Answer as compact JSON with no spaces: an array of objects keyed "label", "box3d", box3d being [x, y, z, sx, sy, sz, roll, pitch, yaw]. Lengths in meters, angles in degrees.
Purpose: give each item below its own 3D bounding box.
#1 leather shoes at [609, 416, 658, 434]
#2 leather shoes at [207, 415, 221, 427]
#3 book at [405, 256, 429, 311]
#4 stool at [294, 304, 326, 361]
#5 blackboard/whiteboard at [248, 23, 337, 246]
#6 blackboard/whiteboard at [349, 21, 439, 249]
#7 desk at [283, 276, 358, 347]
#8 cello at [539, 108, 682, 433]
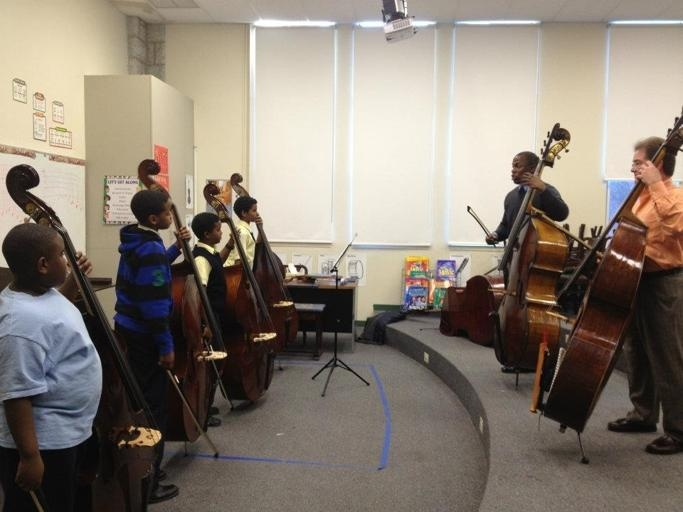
[{"label":"leather shoes","box3d":[2.013,1.177,4.010,0.307,0.140,0.133,2,1,8]},{"label":"leather shoes","box3d":[-1.074,1.391,4.906,0.158,0.077,0.078,0,2,8]},{"label":"book","box3d":[1.059,0.370,8.099,0.343,0.688,0.380,1,9,3]},{"label":"stool","box3d":[-0.345,0.870,6.916,0.481,0.533,0.506,0,-1,2]},{"label":"blackboard/whiteboard","box3d":[-0.682,-1.795,8.333,1.311,3.424,0.114,1,-14,-1]},{"label":"blackboard/whiteboard","box3d":[0.726,-1.658,8.177,1.152,2.974,0.319,1,9,6]},{"label":"desk","box3d":[-0.207,0.664,7.053,0.659,0.470,0.712,1,5,6]},{"label":"cello","box3d":[1.617,0.235,3.680,0.843,2.073,0.520,-7,11,-39]}]
